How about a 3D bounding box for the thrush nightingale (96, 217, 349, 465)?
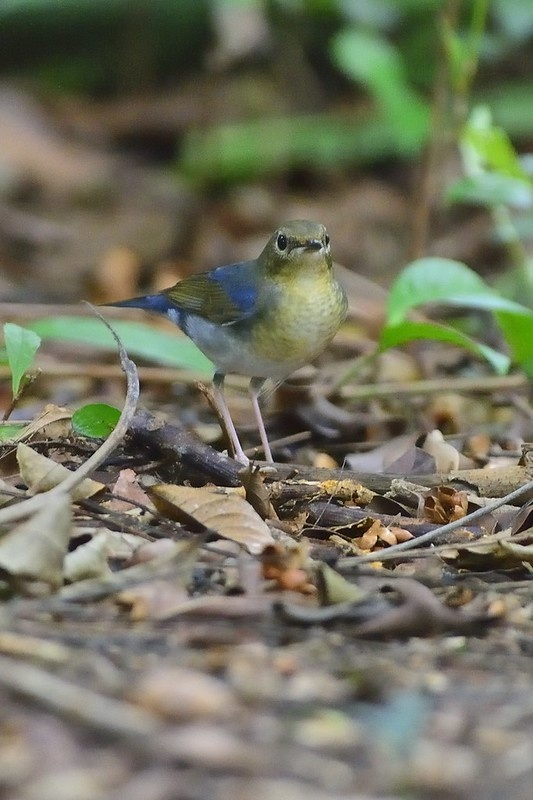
[{"bbox_3d":[-0.114,-0.212,2.694,0.428,0.647,1.049,-4,14,-31],"label":"thrush nightingale"}]
